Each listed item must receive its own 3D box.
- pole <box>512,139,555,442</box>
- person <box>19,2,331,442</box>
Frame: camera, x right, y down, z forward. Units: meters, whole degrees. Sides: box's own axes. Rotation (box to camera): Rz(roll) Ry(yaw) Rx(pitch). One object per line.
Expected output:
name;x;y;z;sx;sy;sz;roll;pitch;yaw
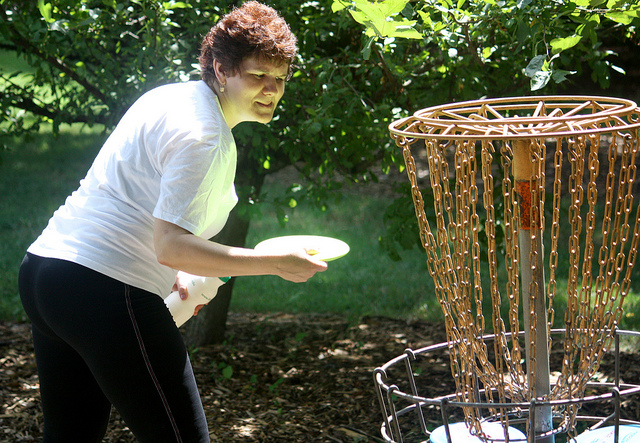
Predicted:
pole;0.947;0.315;3.816;0.249;1.361;0.354;3;2;12
person;-0.768;0.010;3.896;1.206;2.091;0.510;2;2;-8
